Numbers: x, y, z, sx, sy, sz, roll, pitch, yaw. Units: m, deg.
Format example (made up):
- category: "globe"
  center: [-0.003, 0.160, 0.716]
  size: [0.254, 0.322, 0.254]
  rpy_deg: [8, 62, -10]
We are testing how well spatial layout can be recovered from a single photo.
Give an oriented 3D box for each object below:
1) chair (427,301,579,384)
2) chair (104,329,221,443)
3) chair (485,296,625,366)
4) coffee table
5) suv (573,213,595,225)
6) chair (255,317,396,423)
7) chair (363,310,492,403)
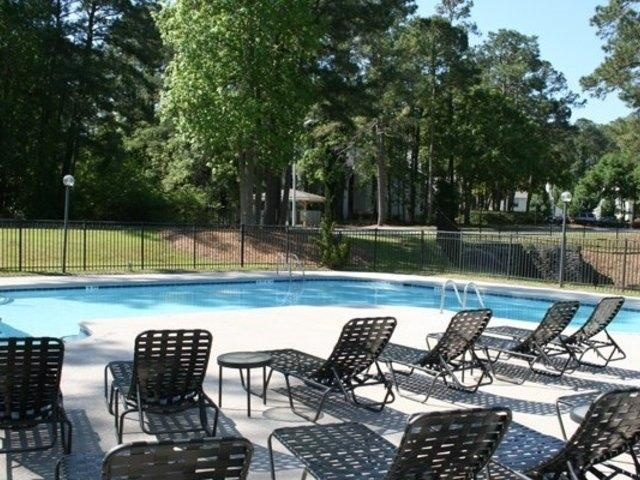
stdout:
- category: "chair"
  center: [3.340, 1.579, 10.772]
  size: [1.217, 1.311, 1.903]
  rpy_deg: [0, 3, -35]
- category: "chair"
  center: [-1.988, 1.800, 7.948]
  size: [1.110, 1.384, 1.991]
  rpy_deg: [1, -4, -27]
- category: "chair"
  center: [4.299, 1.552, 11.761]
  size: [1.214, 1.311, 2.678]
  rpy_deg: [-1, 3, -32]
- category: "coffee table"
  center: [-0.969, 1.851, 8.276]
  size: [0.580, 0.512, 0.549]
  rpy_deg: [15, -19, -43]
- category: "suv"
  center: [28.723, -2.428, 68.837]
  size: [2.045, 1.179, 3.990]
  rpy_deg: [3, 0, 12]
- category: "chair"
  center: [-0.021, 1.675, 8.978]
  size: [1.302, 1.467, 2.091]
  rpy_deg: [3, 2, -42]
- category: "chair"
  center: [1.554, 1.646, 9.878]
  size: [1.214, 1.369, 2.313]
  rpy_deg: [0, 2, -35]
